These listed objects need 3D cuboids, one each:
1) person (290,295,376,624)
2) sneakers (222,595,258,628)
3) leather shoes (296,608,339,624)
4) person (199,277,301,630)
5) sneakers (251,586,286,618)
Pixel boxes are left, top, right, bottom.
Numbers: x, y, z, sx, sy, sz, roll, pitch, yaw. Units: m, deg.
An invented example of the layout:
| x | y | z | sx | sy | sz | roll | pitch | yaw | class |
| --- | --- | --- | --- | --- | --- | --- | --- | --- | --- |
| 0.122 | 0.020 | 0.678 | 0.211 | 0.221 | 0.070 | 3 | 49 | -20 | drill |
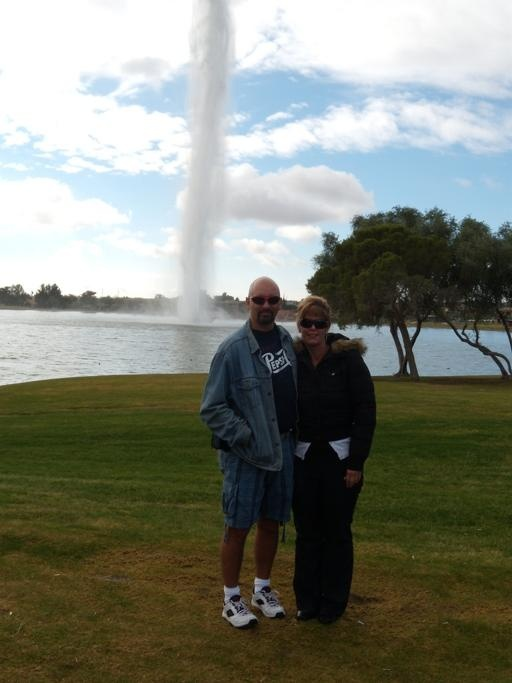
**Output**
| x | y | z | sx | sy | sz | roll | pitch | yaw | class |
| --- | --- | --- | --- | --- | --- | --- | --- | --- | --- |
| 0.518 | 0.766 | 4.335 | 0.550 | 1.916 | 0.467 | 2 | 1 | 3 | person |
| -0.101 | 1.736 | 4.076 | 0.183 | 0.156 | 0.214 | 1 | 0 | -27 | sneakers |
| 0.417 | 1.816 | 4.197 | 0.284 | 0.109 | 0.092 | -7 | 12 | 9 | leather shoes |
| -0.049 | 0.698 | 4.239 | 0.649 | 1.894 | 0.559 | 2 | 1 | -4 | person |
| 0.082 | 1.765 | 4.258 | 0.114 | 0.117 | 0.274 | 3 | -11 | -28 | sneakers |
